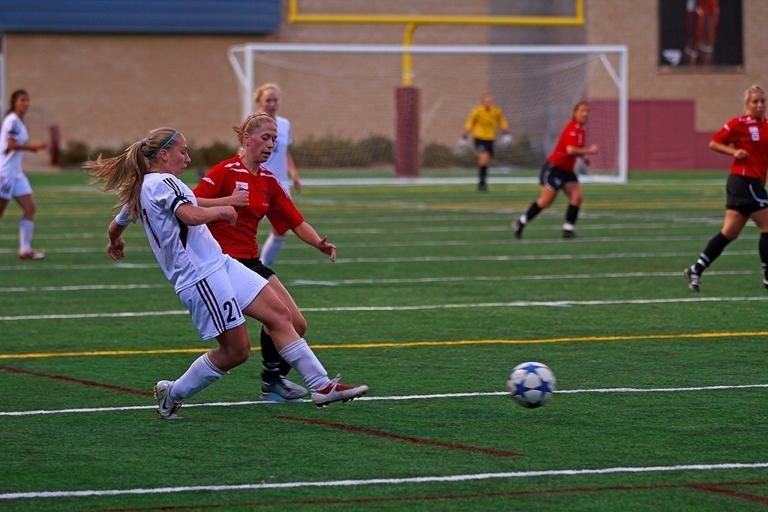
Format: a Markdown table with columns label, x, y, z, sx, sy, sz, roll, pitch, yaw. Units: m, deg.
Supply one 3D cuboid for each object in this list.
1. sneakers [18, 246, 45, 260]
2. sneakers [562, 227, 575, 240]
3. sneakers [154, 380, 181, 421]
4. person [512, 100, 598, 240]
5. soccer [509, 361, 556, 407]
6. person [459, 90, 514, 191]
| label | x | y | z | sx | sy | sz | roll | pitch | yaw |
| --- | --- | --- | --- | --- | --- | --- | --- | --- | --- |
| sneakers | -5.427 | -0.028 | 17.372 | 0.555 | 0.179 | 0.170 | -1 | 15 | -2 |
| sneakers | 2.500 | -0.303 | 15.335 | 0.179 | 0.099 | 0.142 | 2 | 7 | 9 |
| sneakers | -1.951 | 1.305 | 10.378 | 0.245 | 0.380 | 0.177 | 10 | 12 | 15 |
| person | 2.401 | -1.141 | 15.170 | 0.518 | 1.823 | 1.192 | 8 | 12 | 38 |
| soccer | 1.363 | 1.191 | 10.483 | 0.439 | 0.346 | 0.437 | -3 | 0 | 41 |
| person | 1.290 | -1.421 | 14.401 | 0.383 | 1.209 | 0.776 | 4 | 10 | 22 |
